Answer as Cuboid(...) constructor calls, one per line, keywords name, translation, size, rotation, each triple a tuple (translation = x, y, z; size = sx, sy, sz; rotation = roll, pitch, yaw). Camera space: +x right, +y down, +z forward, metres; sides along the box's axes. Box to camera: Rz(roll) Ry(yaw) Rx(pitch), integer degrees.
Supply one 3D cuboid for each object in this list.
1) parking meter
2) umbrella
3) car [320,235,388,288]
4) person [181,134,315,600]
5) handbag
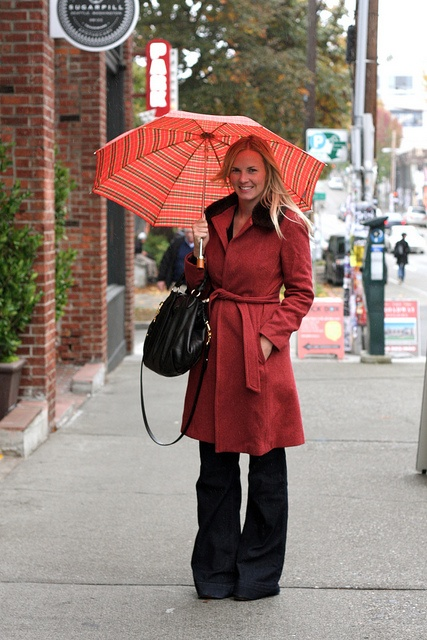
Cuboid(name="parking meter", translation=(1.988, -0.398, 10.481), size=(0.271, 1.689, 0.416), rotation=(1, 4, 11))
Cuboid(name="umbrella", translation=(-0.068, -0.686, 3.682), size=(0.714, 0.706, 0.374), rotation=(-1, 49, 35))
Cuboid(name="car", translation=(3.444, -1.662, 24.346), size=(1.255, 1.316, 2.193), rotation=(1, 10, 3))
Cuboid(name="person", translation=(0.128, 0.206, 3.335), size=(0.516, 1.818, 0.345), rotation=(1, 4, 2))
Cuboid(name="handbag", translation=(-0.144, 0.056, 3.211), size=(0.248, 0.317, 0.179), rotation=(0, 4, -5))
